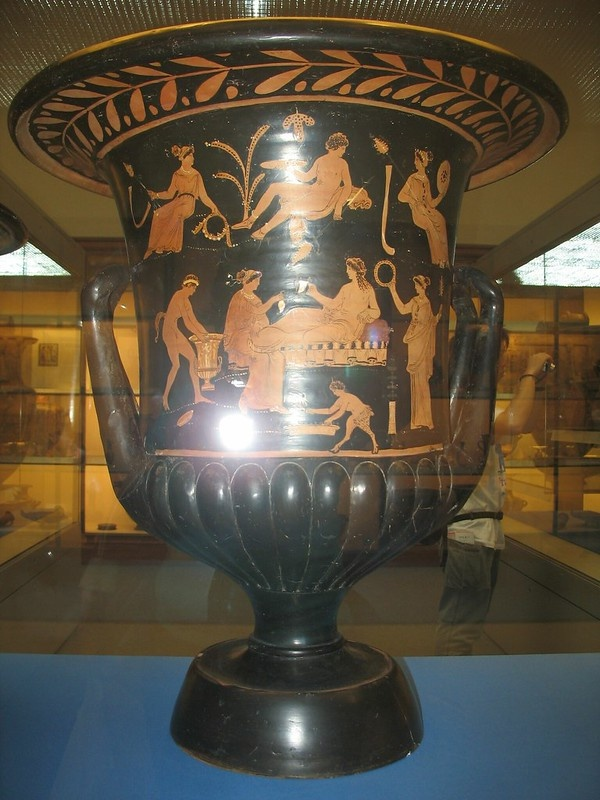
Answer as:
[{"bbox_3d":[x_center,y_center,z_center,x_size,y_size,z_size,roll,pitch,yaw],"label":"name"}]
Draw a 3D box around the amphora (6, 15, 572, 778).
[{"bbox_3d":[0.003,0.037,1.229,0.923,1.112,0.503,-1,1,-16],"label":"amphora"}]
